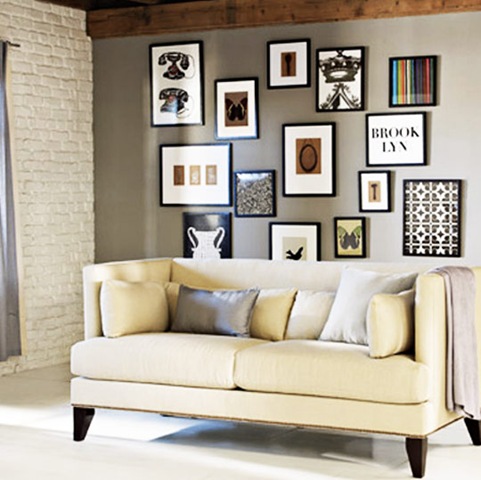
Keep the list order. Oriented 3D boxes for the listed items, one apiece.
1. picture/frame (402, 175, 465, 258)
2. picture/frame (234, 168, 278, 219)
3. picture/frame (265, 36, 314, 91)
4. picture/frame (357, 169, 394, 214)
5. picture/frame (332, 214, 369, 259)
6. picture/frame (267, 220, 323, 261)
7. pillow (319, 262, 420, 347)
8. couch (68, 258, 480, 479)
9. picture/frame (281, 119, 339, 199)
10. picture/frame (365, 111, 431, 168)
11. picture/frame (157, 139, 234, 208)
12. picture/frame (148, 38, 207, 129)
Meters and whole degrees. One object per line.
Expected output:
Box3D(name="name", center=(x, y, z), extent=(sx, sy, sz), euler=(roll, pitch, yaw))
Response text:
Box3D(name="picture/frame", center=(1.465, -0.180, 4.405), extent=(0.532, 0.815, 0.037), euler=(0, 0, 27))
Box3D(name="picture/frame", center=(0.117, -0.391, 4.955), extent=(0.377, 0.455, 0.040), euler=(0, 30, 3))
Box3D(name="picture/frame", center=(0.392, -1.428, 4.801), extent=(0.351, 0.415, 0.024), euler=(-1, -10, 5))
Box3D(name="picture/frame", center=(1.046, -0.373, 4.604), extent=(0.248, 0.355, 0.036), euler=(1, -24, 11))
Box3D(name="picture/frame", center=(0.866, -0.020, 4.686), extent=(0.239, 0.372, 0.036), euler=(-2, -29, 11))
Box3D(name="picture/frame", center=(0.465, -0.003, 4.810), extent=(0.282, 0.321, 0.025), euler=(1, 1, 18))
Box3D(name="pillow", center=(0.604, 0.312, 2.934), extent=(0.115, 0.393, 0.379), euler=(24, -16, -28))
Box3D(name="couch", center=(0.126, 0.544, 2.968), extent=(2.005, 0.919, 0.865), euler=(-1, -2, 27))
Box3D(name="picture/frame", center=(0.551, -0.650, 4.769), extent=(0.427, 0.655, 0.024), euler=(0, -19, 5))
Box3D(name="picture/frame", center=(1.225, -0.773, 4.497), extent=(0.382, 0.390, 0.040), euler=(2, 6, 25))
Box3D(name="picture/frame", center=(-0.361, -0.585, 5.124), extent=(0.524, 0.499, 0.053), euler=(0, 0, 17))
Box3D(name="picture/frame", center=(-0.527, -1.379, 5.129), extent=(0.701, 1.117, 0.038), euler=(0, 1, 17))
